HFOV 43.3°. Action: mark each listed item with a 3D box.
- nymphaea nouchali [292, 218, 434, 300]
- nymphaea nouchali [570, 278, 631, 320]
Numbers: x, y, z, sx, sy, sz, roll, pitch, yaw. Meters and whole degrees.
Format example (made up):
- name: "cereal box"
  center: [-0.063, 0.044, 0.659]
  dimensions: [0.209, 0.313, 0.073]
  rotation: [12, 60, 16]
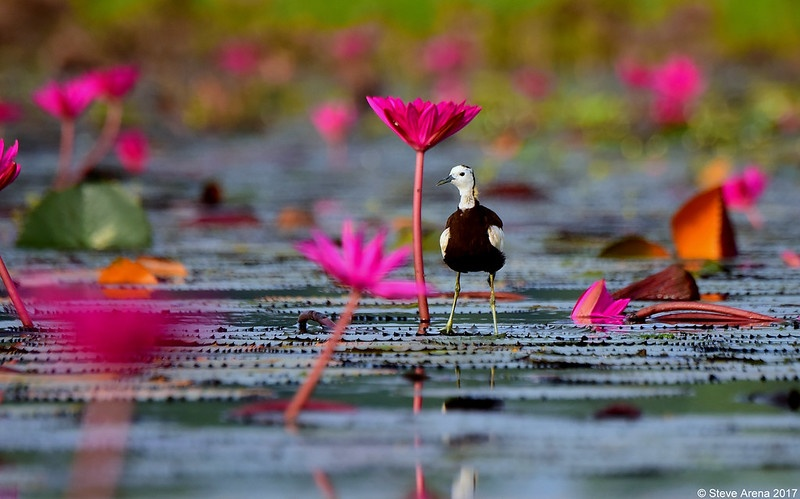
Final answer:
- name: "nymphaea nouchali"
  center: [-0.074, 0.014, 1.988]
  dimensions: [0.195, 0.071, 0.171]
  rotation: [4, 22, 29]
- name: "nymphaea nouchali"
  center: [0.590, 0.143, 2.987]
  dimensions: [0.171, 0.141, 0.096]
  rotation: [-4, 30, -5]
